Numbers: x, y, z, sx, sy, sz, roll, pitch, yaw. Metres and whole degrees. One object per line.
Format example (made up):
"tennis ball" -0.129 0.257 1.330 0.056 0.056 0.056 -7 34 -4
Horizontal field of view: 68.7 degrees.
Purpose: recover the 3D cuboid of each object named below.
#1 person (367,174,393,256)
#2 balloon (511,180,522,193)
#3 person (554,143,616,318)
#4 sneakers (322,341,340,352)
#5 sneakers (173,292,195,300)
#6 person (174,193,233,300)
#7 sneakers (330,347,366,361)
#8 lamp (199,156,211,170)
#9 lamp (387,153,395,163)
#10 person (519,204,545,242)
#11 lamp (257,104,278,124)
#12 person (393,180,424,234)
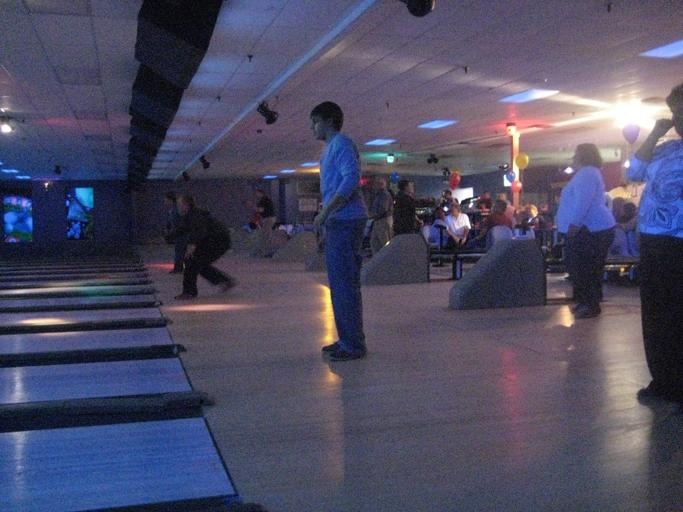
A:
"person" 0.647 -0.630 8.030 0.367 1.272 0.747 0 5 6
"balloon" 4.929 -1.930 13.930 0.319 0.359 0.321 -7 14 0
"person" 2.262 -0.260 4.635 0.482 1.595 0.736 2 5 25
"sneakers" -0.062 0.614 3.418 0.149 0.064 0.055 -7 -2 12
"sneakers" -1.863 0.474 5.946 0.222 0.093 0.087 7 -5 -24
"person" -1.649 -0.129 6.099 0.680 1.230 0.519 -2 5 -16
"sneakers" 0.040 0.651 3.313 0.249 0.111 0.083 5 -9 -19
"lamp" -4.864 -3.372 17.905 0.242 0.303 0.539 -40 31 4
"lamp" 1.779 -3.593 18.124 0.229 0.232 0.405 1 -7 3
"person" 3.721 -0.469 9.808 0.401 1.126 0.355 0 -27 18
"lamp" -1.462 -2.823 9.783 0.364 0.370 0.430 -4 6 -37
"person" 1.072 -0.818 8.242 0.419 0.910 0.551 0 5 7
